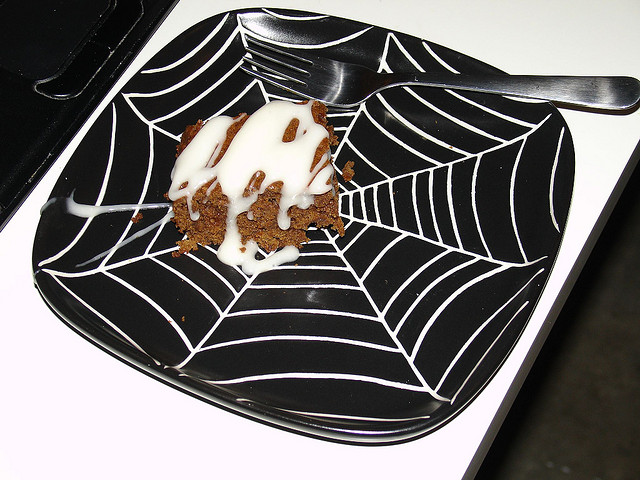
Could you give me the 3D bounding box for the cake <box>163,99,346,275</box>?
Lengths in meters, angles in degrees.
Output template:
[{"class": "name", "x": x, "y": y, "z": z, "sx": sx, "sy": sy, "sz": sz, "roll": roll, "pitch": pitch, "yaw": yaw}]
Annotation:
[{"class": "cake", "x": -0.218, "y": -0.198, "z": 2.640, "sx": 0.521, "sy": 0.174, "sz": 0.648, "roll": 2, "pitch": -94, "yaw": 3}]
